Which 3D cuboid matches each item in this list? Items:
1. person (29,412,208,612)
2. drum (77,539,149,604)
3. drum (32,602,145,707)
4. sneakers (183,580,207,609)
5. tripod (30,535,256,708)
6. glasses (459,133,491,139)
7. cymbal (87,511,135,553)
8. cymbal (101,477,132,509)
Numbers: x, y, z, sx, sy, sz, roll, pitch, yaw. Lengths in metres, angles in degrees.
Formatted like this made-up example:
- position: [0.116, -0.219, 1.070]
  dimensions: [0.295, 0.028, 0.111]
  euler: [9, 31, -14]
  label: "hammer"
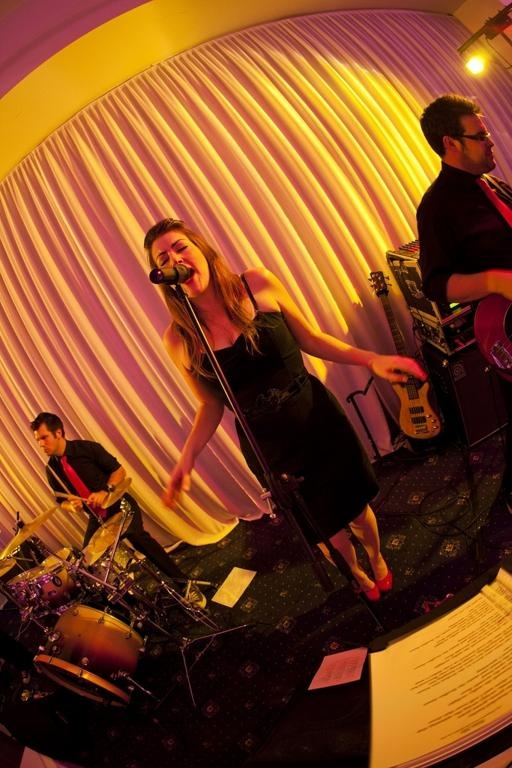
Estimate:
- position: [-0.859, 0.763, 3.508]
  dimensions: [0.701, 1.260, 0.405]
  euler: [-43, -6, 8]
  label: "person"
- position: [-0.707, 0.982, 2.965]
  dimensions: [0.158, 0.347, 0.435]
  euler: [-51, -31, -13]
  label: "drum"
- position: [-0.785, 1.235, 2.782]
  dimensions: [0.474, 0.485, 0.318]
  euler: [-25, 33, 59]
  label: "drum"
- position: [-0.363, 1.244, 3.298]
  dimensions: [0.042, 0.160, 0.123]
  euler: [-54, -17, 23]
  label: "sneakers"
- position: [-0.574, 1.241, 3.051]
  dimensions: [0.907, 0.859, 0.601]
  euler: [-6, -41, -12]
  label: "tripod"
- position: [0.850, -0.956, 2.142]
  dimensions: [0.054, 0.015, 0.053]
  euler: [-23, 29, -25]
  label: "glasses"
- position: [-0.743, 0.779, 2.974]
  dimensions: [0.274, 0.067, 0.271]
  euler: [-33, 25, 10]
  label: "cymbal"
- position: [-0.765, 0.600, 3.095]
  dimensions: [0.184, 0.042, 0.185]
  euler: [-40, 12, -9]
  label: "cymbal"
